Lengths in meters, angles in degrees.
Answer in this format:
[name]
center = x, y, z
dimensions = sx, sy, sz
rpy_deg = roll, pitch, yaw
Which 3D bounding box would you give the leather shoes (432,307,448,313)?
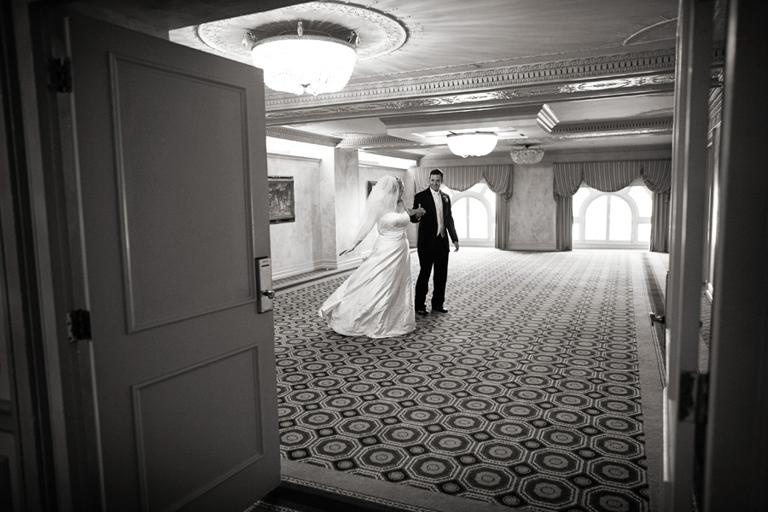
[leather shoes]
center = 0.799, 0.776, 7.272
dimensions = 0.223, 0.096, 0.084
rpy_deg = -2, 7, 2

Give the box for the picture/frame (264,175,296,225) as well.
[picture/frame]
center = -2.140, -1.168, 10.604
dimensions = 0.133, 1.051, 1.197
rpy_deg = -7, 8, -41

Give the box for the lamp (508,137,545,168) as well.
[lamp]
center = 3.580, -2.594, 12.883
dimensions = 0.768, 0.450, 0.771
rpy_deg = -5, 14, -9
